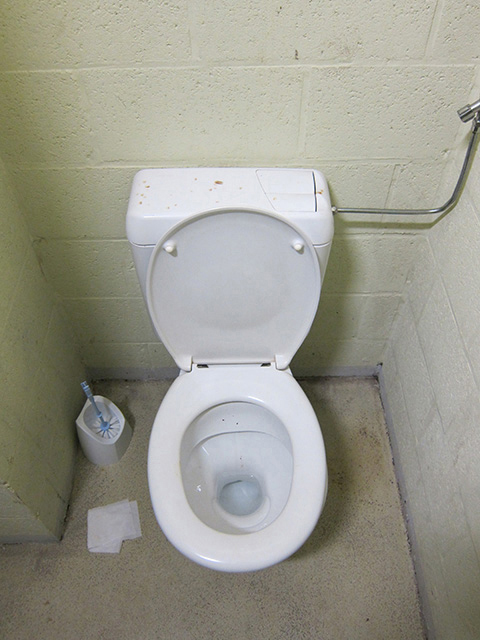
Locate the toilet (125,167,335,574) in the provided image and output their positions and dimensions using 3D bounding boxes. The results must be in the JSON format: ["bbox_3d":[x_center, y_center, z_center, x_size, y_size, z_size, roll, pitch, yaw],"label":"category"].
[{"bbox_3d":[-0.011,0.201,1.204,0.405,0.818,0.800,-2,47,-4],"label":"toilet"}]

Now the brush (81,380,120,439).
[{"bbox_3d":[-0.435,0.284,1.571,0.098,0.120,0.122,-12,48,-8],"label":"brush"}]
